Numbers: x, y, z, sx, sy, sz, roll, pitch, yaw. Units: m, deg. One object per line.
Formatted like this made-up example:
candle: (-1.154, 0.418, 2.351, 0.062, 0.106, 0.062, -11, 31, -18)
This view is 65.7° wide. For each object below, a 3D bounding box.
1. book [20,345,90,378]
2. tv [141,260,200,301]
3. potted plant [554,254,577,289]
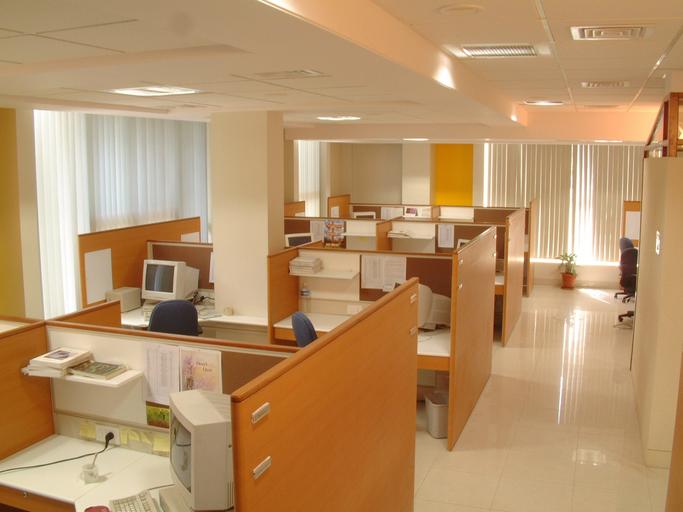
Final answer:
book: (-1.804, 0.669, 3.337, 0.217, 0.069, 0.223, 3, 12, 22)
tv: (-2.102, 0.294, 6.553, 0.515, 0.476, 0.530, 2, 5, 20)
potted plant: (4.699, 0.318, 11.006, 0.358, 0.671, 0.379, 4, 12, 24)
